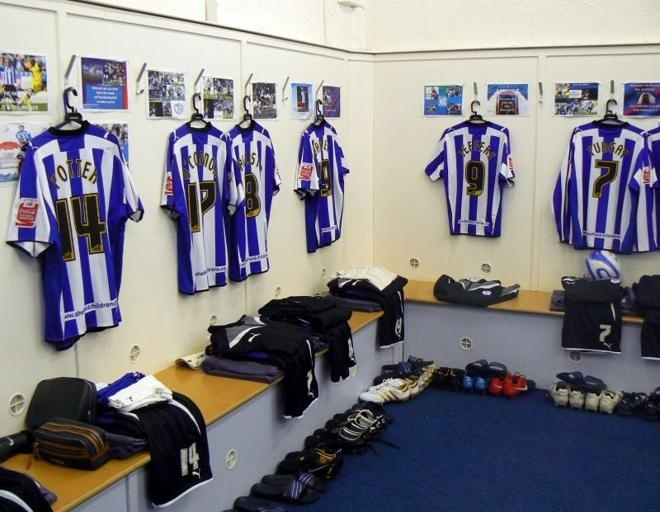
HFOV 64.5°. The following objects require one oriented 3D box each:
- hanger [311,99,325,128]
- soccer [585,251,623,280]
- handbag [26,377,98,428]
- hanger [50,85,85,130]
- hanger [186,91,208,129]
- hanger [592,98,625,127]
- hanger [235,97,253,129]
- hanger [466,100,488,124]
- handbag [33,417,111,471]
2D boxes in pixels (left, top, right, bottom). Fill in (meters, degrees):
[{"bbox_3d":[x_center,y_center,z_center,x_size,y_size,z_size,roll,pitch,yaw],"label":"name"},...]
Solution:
[{"bbox_3d":[-0.099,-1.273,4.644,0.051,0.236,0.173,6,15,28],"label":"hanger"},{"bbox_3d":[2.386,0.084,4.570,0.273,0.224,0.260,26,25,13],"label":"soccer"},{"bbox_3d":[-1.362,0.753,2.659,0.236,0.228,0.080,-2,-26,19],"label":"handbag"},{"bbox_3d":[-1.382,-0.795,2.793,0.021,0.251,0.238,16,25,31],"label":"hanger"},{"bbox_3d":[-0.891,-0.976,3.516,0.061,0.245,0.171,7,15,31],"label":"hanger"},{"bbox_3d":[2.478,-1.267,4.609,0.235,0.281,0.014,7,16,22],"label":"hanger"},{"bbox_3d":[-0.623,-1.068,3.888,0.070,0.249,0.176,7,15,30],"label":"hanger"},{"bbox_3d":[1.412,-1.369,4.968,0.229,0.295,0.030,0,6,15],"label":"hanger"},{"bbox_3d":[-1.241,0.897,2.502,0.372,0.177,0.129,5,14,21],"label":"handbag"}]
